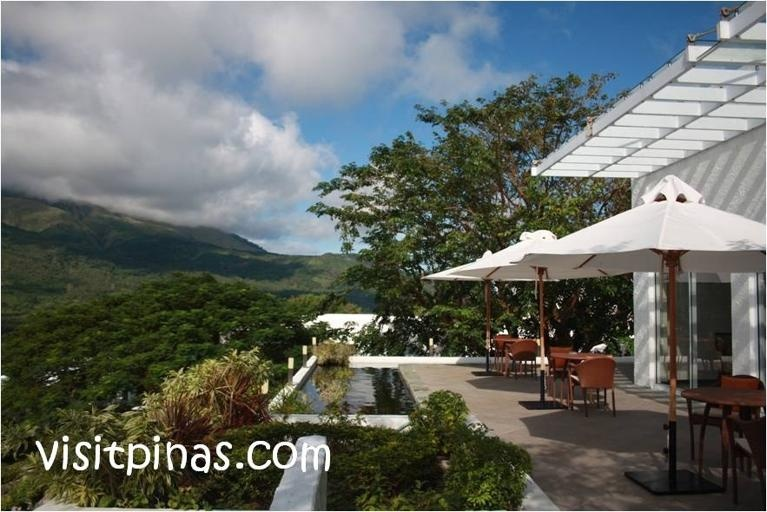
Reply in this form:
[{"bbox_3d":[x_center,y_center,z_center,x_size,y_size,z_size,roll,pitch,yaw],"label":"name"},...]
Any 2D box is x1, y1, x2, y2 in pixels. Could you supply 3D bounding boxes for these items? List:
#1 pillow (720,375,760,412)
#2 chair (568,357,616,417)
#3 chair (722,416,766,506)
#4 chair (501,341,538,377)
[{"bbox_3d":[6.317,2.421,8.535,0.562,0.495,0.560,18,-25,-36],"label":"pillow"},{"bbox_3d":[4.627,2.853,10.638,0.899,1.192,0.872,2,-6,-8],"label":"chair"},{"bbox_3d":[5.283,2.989,7.026,0.444,1.288,0.790,0,-15,37],"label":"chair"},{"bbox_3d":[4.290,3.107,14.818,1.017,1.166,0.936,-2,2,-21],"label":"chair"}]
